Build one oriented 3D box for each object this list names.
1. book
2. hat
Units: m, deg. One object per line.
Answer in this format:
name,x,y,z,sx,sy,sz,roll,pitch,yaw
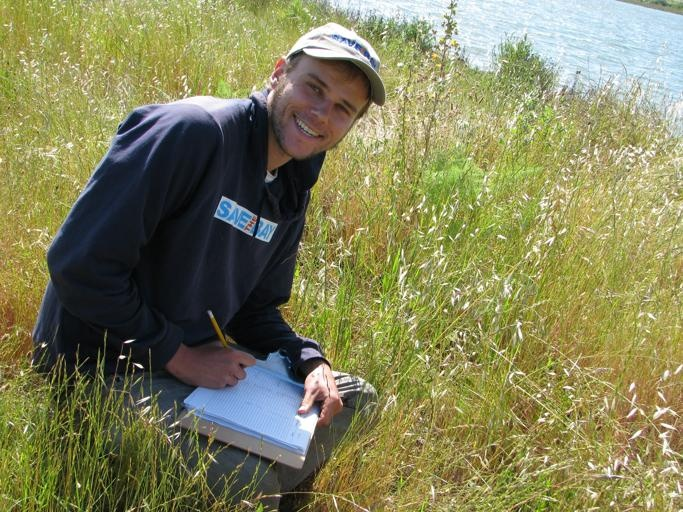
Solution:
book,-0.384,0.704,2.677,0.406,0.160,0.465,21,39,2
hat,-0.031,-0.914,2.862,0.310,0.249,0.416,37,-5,-29
